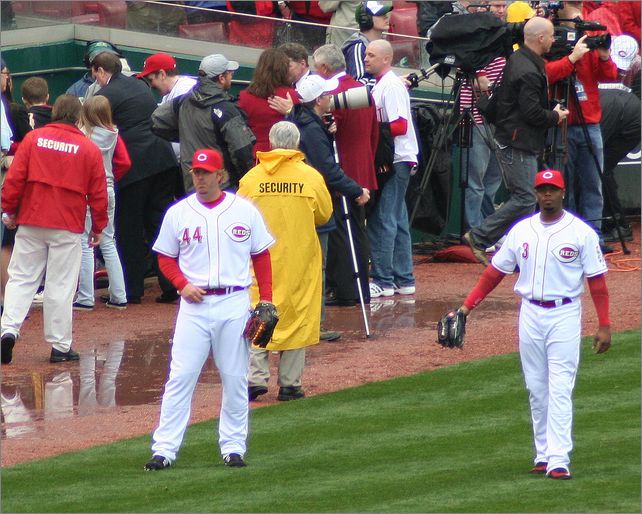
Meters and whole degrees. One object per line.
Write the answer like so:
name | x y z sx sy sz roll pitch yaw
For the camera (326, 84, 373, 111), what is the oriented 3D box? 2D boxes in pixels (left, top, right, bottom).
camera | 0.247 -1.377 13.812 0.398 0.147 0.158 -10 -19 12

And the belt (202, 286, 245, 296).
belt | -0.676 0.233 11.148 0.271 0.060 0.031 -3 3 -15

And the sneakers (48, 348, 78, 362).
sneakers | -2.155 0.812 13.403 0.247 0.111 0.102 -2 6 -19

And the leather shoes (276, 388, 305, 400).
leather shoes | -0.231 1.059 12.388 0.195 0.091 0.086 -4 7 -27

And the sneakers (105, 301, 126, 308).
sneakers | -1.908 0.428 14.953 0.163 0.070 0.070 7 10 22

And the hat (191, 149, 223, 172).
hat | -0.794 -0.675 11.167 0.220 0.163 0.180 -3 3 -18

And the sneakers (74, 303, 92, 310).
sneakers | -2.205 0.462 14.865 0.184 0.075 0.067 7 4 8

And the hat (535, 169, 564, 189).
hat | 1.589 -0.542 11.125 0.182 0.139 0.246 -2 3 12

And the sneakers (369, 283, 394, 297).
sneakers | 0.558 0.319 15.074 0.267 0.113 0.092 4 -4 -32

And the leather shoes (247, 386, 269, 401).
leather shoes | -0.483 1.051 12.325 0.090 0.087 0.200 -1 -18 -32

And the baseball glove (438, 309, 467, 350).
baseball glove | 0.914 0.512 11.255 0.115 0.261 0.186 28 -44 -32

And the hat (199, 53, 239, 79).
hat | -0.895 -1.711 14.305 0.336 0.138 0.218 -24 39 -29

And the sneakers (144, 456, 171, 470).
sneakers | -1.133 1.437 11.165 0.172 0.072 0.092 6 0 4

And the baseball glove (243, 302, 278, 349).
baseball glove | -0.423 0.451 11.280 0.212 0.294 0.175 24 18 24

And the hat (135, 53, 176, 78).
hat | -1.547 -1.810 14.999 0.311 0.171 0.201 -3 13 0

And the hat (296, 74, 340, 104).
hat | -0.049 -1.435 13.472 0.301 0.265 0.455 -2 3 10

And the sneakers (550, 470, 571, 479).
sneakers | 1.635 1.483 10.958 0.123 0.046 0.067 0 5 -8

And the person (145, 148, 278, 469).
person | -0.782 0.365 11.246 0.952 2.241 0.328 -3 3 -4

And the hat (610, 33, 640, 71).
hat | 3.232 -2.207 17.126 0.330 0.443 0.158 2 13 4
